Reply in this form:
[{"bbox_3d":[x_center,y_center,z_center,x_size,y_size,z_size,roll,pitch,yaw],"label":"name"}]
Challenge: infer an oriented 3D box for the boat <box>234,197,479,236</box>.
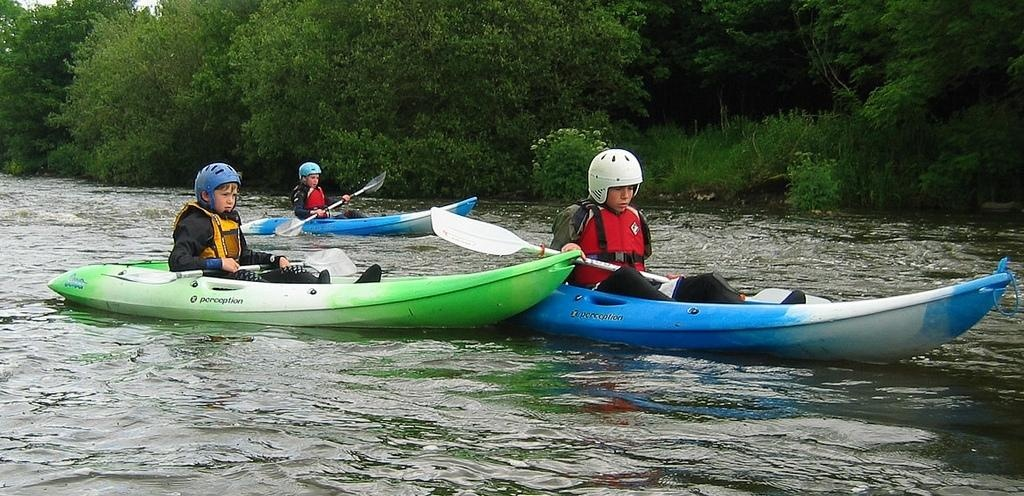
[{"bbox_3d":[-4.640,-0.883,29.173,7.300,0.728,1.425,-4,12,7],"label":"boat"}]
